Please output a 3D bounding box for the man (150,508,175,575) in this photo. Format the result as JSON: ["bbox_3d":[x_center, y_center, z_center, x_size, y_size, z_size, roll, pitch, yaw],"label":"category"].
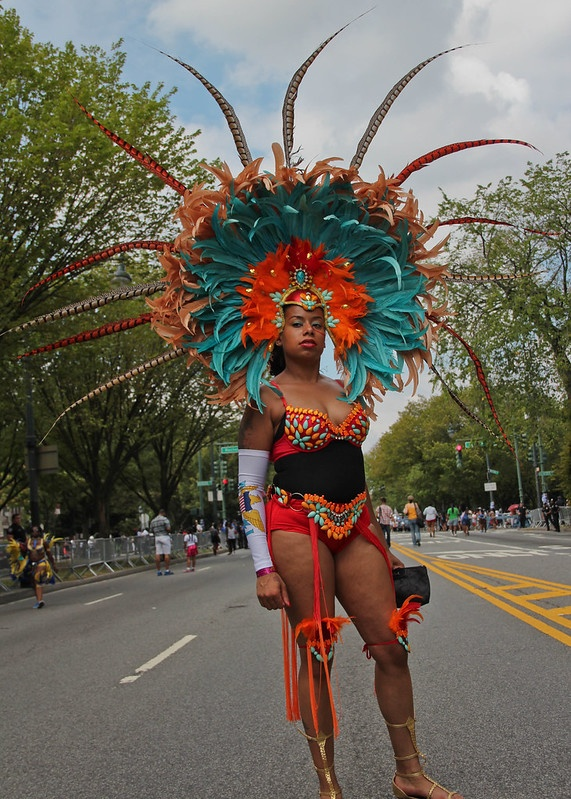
[{"bbox_3d":[-4.163,4.880,22.151,0.849,2.164,0.763,-12,-17,24],"label":"man"}]

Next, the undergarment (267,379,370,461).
[{"bbox_3d":[0.145,0.093,2.322,0.316,0.226,0.377,-2,-6,-11],"label":"undergarment"}]
